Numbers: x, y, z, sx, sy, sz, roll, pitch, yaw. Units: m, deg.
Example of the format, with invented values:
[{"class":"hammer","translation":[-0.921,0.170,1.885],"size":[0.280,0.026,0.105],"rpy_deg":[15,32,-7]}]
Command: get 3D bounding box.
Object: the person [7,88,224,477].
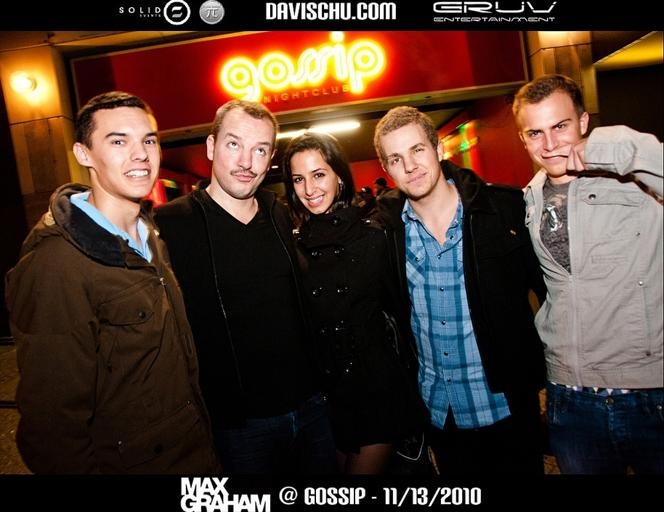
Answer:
[{"class":"person","translation":[-1.269,0.228,2.561],"size":[0.962,2.149,0.364],"rpy_deg":[-12,4,-19]}]
